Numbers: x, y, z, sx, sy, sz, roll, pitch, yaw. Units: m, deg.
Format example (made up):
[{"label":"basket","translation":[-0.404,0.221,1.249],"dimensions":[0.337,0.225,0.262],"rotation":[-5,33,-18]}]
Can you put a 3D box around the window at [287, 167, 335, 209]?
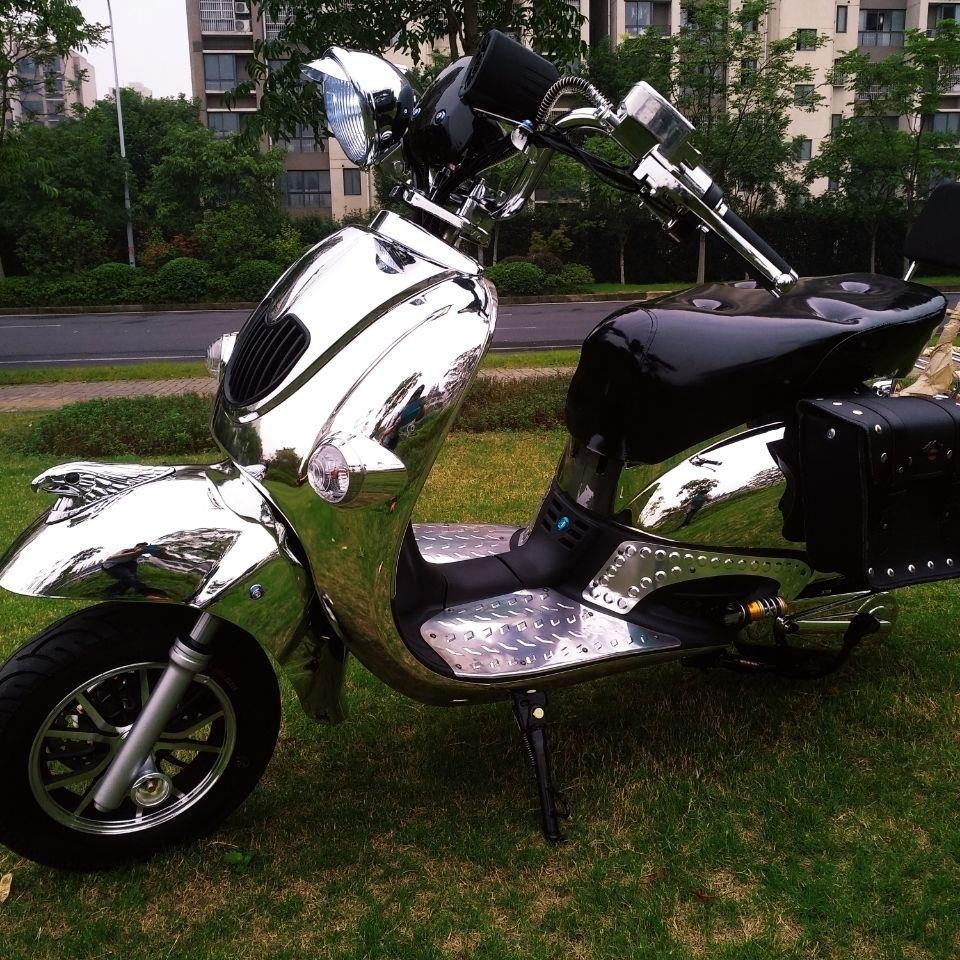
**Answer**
[{"label":"window","translation":[-7.249,-12.687,39.543],"dimensions":[2.186,1.356,1.064],"rotation":[9,26,21]}]

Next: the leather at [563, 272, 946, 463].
[{"label":"leather","translation":[0.703,-0.326,2.269],"dimensions":[0.854,0.222,0.472],"rotation":[-15,26,-12]}]
